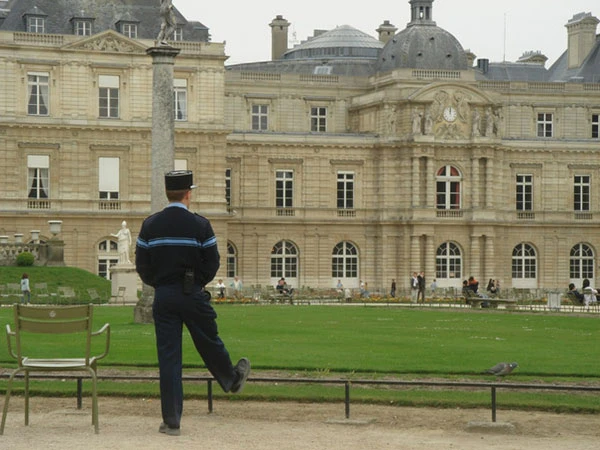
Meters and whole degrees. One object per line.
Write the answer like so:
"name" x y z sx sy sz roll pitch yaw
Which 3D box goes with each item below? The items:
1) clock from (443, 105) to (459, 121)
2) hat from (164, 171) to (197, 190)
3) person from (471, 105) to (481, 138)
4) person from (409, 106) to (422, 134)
"clock" 9.026 -6.829 108.479 1.027 1.057 0.145 -1 -1 -14
"hat" -4.193 -1.525 61.995 0.866 0.434 0.647 -2 8 -22
"person" 10.649 -6.225 108.872 0.557 1.882 0.317 1 -3 -21
"person" 6.965 -6.278 108.038 0.670 1.726 0.468 0 -3 -8
